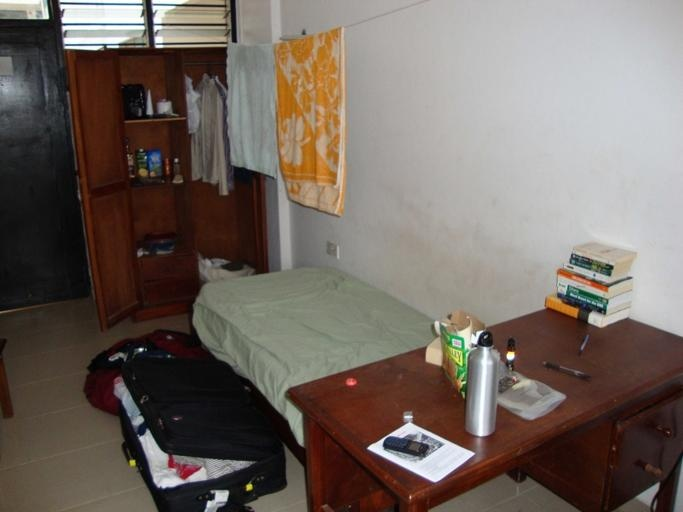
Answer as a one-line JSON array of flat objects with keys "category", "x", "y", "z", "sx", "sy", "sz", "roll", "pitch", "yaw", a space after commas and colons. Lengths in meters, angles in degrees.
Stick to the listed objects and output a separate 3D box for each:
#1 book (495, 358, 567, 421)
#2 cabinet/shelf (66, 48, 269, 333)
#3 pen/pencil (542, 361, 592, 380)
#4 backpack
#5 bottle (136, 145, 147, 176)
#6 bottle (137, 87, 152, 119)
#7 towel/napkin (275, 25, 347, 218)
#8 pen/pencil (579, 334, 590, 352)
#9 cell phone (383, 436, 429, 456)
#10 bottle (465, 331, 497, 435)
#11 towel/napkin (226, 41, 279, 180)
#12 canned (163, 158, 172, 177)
[{"category": "book", "x": 0.694, "y": 0.525, "z": 2.045, "sx": 0.261, "sy": 0.058, "sz": 0.219, "roll": 17, "pitch": 26, "yaw": 40}, {"category": "cabinet/shelf", "x": -1.494, "y": -0.582, "z": 4.473, "sx": 1.577, "sy": 2.272, "sz": 1.075, "roll": -15, "pitch": 34, "yaw": -28}, {"category": "pen/pencil", "x": 0.912, "y": 0.468, "z": 2.173, "sx": 0.122, "sy": 0.022, "sz": 0.019, "roll": 13, "pitch": 19, "yaw": 20}, {"category": "backpack", "x": -1.422, "y": 0.753, "z": 3.745, "sx": 0.659, "sy": 0.199, "sz": 0.519, "roll": -22, "pitch": 56, "yaw": -34}, {"category": "bottle", "x": -1.810, "y": -0.844, "z": 4.847, "sx": 0.048, "sy": 0.215, "sz": 0.146, "roll": 0, "pitch": 4, "yaw": 24}, {"category": "bottle", "x": -1.695, "y": -1.347, "z": 4.710, "sx": 0.072, "sy": 0.228, "sz": 0.374, "roll": -6, "pitch": 20, "yaw": -17}, {"category": "towel/napkin", "x": -0.206, "y": -0.959, "z": 3.723, "sx": 0.149, "sy": 1.485, "sz": 1.086, "roll": -13, "pitch": 24, "yaw": -30}, {"category": "pen/pencil", "x": 1.063, "y": 0.385, "z": 2.348, "sx": 0.013, "sy": 0.013, "sz": 0.120, "roll": 33, "pitch": 36, "yaw": 24}, {"category": "cell phone", "x": 0.231, "y": 0.643, "z": 1.837, "sx": 0.130, "sy": 0.031, "sz": 0.060, "roll": 10, "pitch": 29, "yaw": 23}, {"category": "bottle", "x": 0.499, "y": 0.442, "z": 1.890, "sx": 0.118, "sy": 0.359, "sz": 0.153, "roll": 5, "pitch": 19, "yaw": 15}, {"category": "towel/napkin", "x": -0.705, "y": -1.187, "z": 4.282, "sx": 0.088, "sy": 1.124, "sz": 0.944, "roll": -13, "pitch": 25, "yaw": -38}, {"category": "canned", "x": -1.611, "y": -0.810, "z": 4.950, "sx": 0.086, "sy": 0.124, "sz": 0.125, "roll": -7, "pitch": 26, "yaw": -23}]
